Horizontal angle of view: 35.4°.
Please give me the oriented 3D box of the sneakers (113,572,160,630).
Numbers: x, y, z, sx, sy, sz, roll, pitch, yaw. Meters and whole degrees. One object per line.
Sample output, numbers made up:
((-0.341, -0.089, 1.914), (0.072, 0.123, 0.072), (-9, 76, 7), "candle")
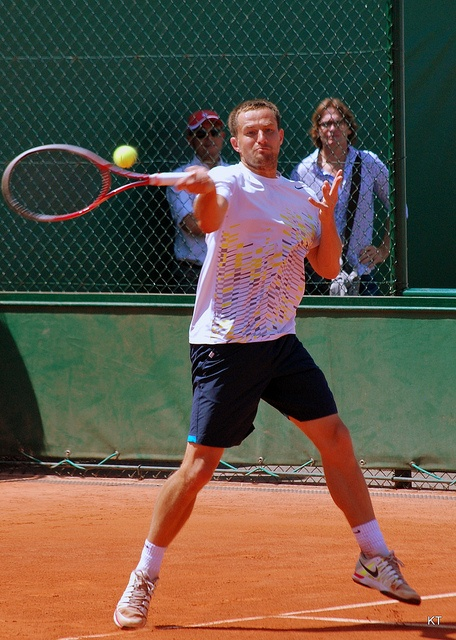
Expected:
((-0.291, 0.880, 2.303), (0.085, 0.091, 0.231), (25, 11, -4), "sneakers")

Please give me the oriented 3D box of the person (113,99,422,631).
((0.090, 0.099, 2.403), (0.966, 1.748, 0.503), (0, 3, -11), "person")

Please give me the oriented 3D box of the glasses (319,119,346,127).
((0.598, -1.124, 4.095), (0.062, 0.018, 0.087), (2, 3, 41), "glasses")

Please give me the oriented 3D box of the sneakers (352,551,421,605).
((0.557, 0.849, 2.380), (0.278, 0.118, 0.093), (9, -4, 45), "sneakers")
